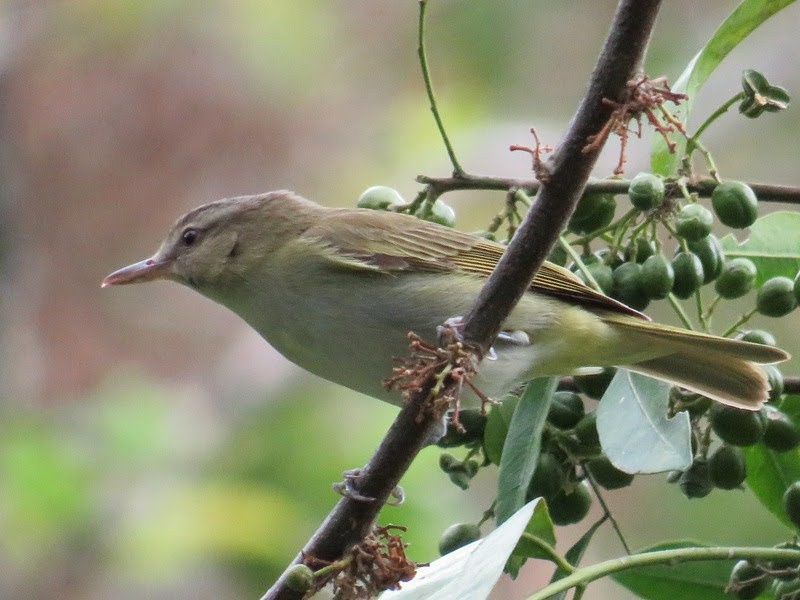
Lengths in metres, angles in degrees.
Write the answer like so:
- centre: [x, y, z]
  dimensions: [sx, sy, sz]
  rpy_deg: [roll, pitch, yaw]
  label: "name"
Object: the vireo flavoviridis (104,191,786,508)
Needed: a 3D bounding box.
- centre: [0.086, 0.020, 2.492]
  dimensions: [1.585, 0.534, 0.456]
  rpy_deg: [1, -34, -5]
  label: "vireo flavoviridis"
